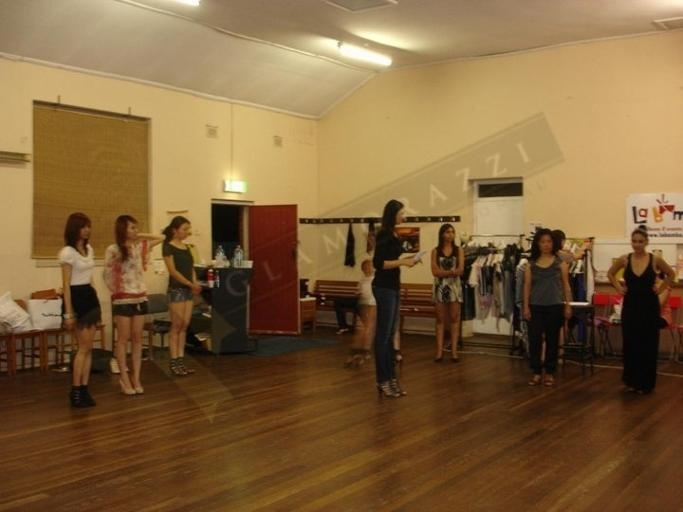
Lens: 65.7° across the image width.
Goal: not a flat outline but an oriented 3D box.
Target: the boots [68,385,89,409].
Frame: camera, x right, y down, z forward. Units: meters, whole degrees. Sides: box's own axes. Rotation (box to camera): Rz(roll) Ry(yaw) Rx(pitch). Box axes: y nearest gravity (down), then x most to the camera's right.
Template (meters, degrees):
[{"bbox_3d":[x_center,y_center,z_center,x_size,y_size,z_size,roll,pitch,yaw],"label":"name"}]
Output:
[{"bbox_3d":[-2.621,1.413,5.375,0.293,0.210,0.107,-3,-4,37],"label":"boots"}]

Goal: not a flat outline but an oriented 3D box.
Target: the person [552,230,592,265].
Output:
[{"bbox_3d":[2.893,-0.098,6.776,0.629,0.315,0.854,14,7,37],"label":"person"}]

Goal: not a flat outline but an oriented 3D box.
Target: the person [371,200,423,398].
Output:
[{"bbox_3d":[0.533,0.582,5.387,0.392,1.793,0.570,0,1,4],"label":"person"}]

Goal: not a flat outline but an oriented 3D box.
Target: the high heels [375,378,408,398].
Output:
[{"bbox_3d":[0.539,1.406,5.668,0.386,0.219,0.133,-1,1,-8],"label":"high heels"}]

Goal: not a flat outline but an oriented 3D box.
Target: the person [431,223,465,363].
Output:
[{"bbox_3d":[1.432,0.503,7.126,0.414,1.874,0.420,0,1,11],"label":"person"}]

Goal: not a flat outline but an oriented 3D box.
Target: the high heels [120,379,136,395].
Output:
[{"bbox_3d":[-2.351,1.421,5.784,0.297,0.162,0.094,2,1,43],"label":"high heels"}]

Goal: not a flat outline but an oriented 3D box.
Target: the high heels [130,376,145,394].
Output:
[{"bbox_3d":[-2.233,1.401,5.830,0.091,0.112,0.296,5,10,-37],"label":"high heels"}]

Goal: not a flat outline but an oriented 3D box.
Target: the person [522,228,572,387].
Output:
[{"bbox_3d":[2.378,0.586,6.098,0.513,1.793,0.296,0,1,19],"label":"person"}]

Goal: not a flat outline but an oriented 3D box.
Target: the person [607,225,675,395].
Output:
[{"bbox_3d":[3.293,0.586,5.819,0.612,1.808,0.398,0,1,20],"label":"person"}]

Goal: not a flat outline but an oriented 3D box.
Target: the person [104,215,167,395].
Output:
[{"bbox_3d":[-2.220,0.537,5.527,0.399,1.905,0.410,0,1,-2],"label":"person"}]

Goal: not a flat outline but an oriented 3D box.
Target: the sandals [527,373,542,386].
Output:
[{"bbox_3d":[2.256,1.440,6.207,0.074,0.158,0.225,-7,-11,43],"label":"sandals"}]

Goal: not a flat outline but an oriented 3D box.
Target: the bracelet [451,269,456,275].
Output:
[{"bbox_3d":[1.482,0.210,6.924,0.052,0.047,0.066,8,16,34],"label":"bracelet"}]
